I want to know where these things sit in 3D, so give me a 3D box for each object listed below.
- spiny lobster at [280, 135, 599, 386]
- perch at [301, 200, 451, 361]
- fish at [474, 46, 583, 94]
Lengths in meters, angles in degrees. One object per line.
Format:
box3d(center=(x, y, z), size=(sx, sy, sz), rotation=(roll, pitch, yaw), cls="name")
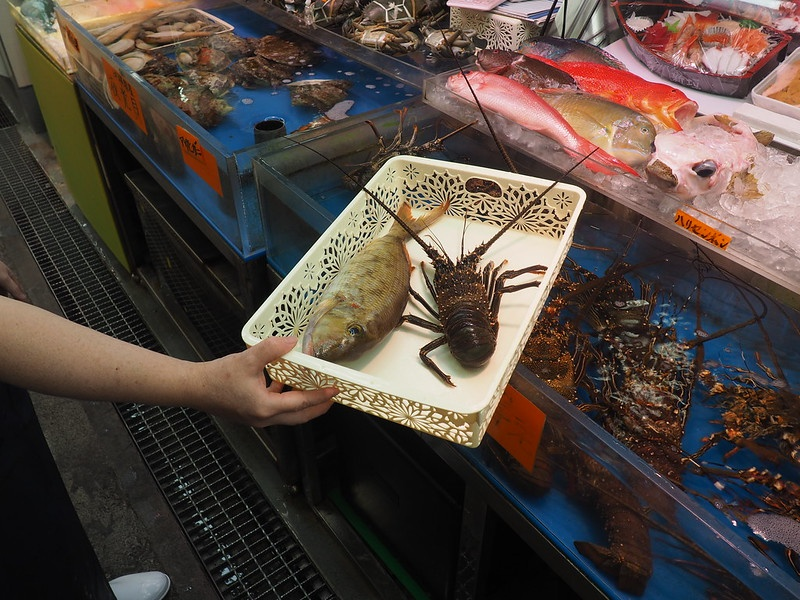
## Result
box3d(center=(0.140, -0.119, 1.081), size=(0.446, 0.172, 0.638), rotation=(-9, 36, -4), cls="spiny lobster")
box3d(center=(-0.063, -0.030, 1.187), size=(0.175, 0.079, 0.440), rotation=(19, 49, 9), cls="perch")
box3d(center=(0.343, -0.684, 1.656), size=(0.384, 0.110, 0.148), rotation=(21, 51, 27), cls="fish")
